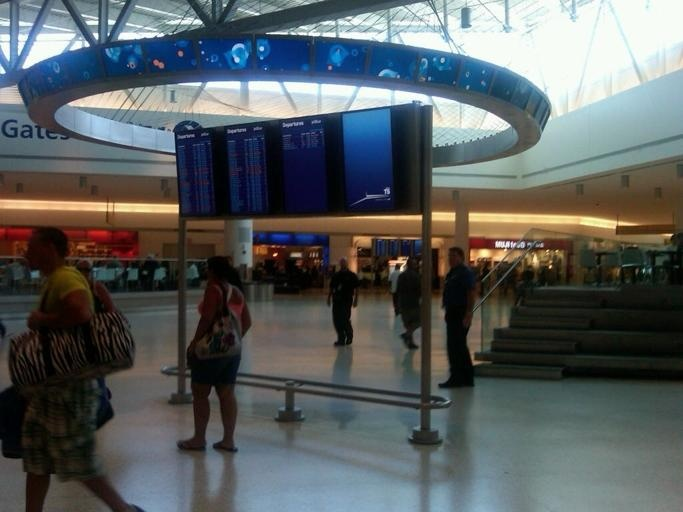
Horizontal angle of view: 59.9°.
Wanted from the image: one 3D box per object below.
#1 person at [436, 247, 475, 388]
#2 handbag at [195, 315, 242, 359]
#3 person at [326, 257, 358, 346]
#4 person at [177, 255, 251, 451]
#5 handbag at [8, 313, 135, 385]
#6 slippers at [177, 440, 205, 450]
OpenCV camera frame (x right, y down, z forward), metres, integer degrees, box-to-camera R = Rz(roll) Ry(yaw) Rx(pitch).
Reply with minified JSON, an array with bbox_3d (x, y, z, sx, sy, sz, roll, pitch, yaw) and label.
[{"bbox_3d":[1.686,0.896,8.619,0.487,2.031,0.683,1,4,12],"label":"person"},{"bbox_3d":[-1.195,0.791,5.708,0.361,0.502,0.199,7,-13,-16],"label":"handbag"},{"bbox_3d":[0.041,0.940,12.554,0.649,1.887,0.999,0,4,1],"label":"person"},{"bbox_3d":[-1.304,0.956,6.106,0.554,1.948,0.887,0,4,-6],"label":"person"},{"bbox_3d":[-1.902,0.689,4.215,0.682,0.349,0.522,-7,-9,-15],"label":"handbag"},{"bbox_3d":[-1.489,1.867,5.850,0.217,0.062,0.109,7,-4,5],"label":"slippers"}]
